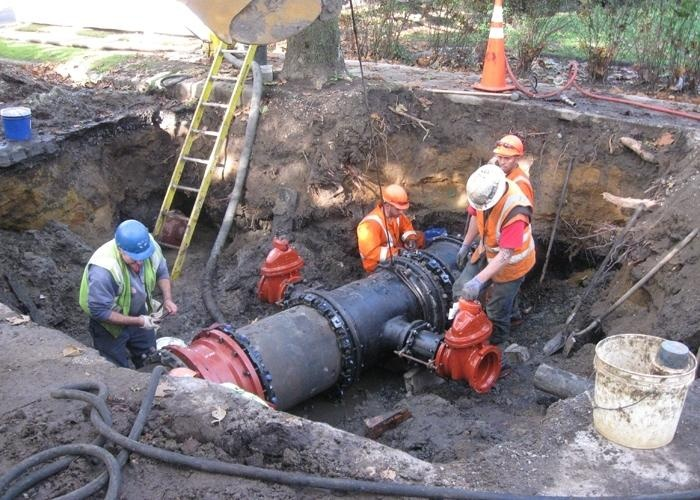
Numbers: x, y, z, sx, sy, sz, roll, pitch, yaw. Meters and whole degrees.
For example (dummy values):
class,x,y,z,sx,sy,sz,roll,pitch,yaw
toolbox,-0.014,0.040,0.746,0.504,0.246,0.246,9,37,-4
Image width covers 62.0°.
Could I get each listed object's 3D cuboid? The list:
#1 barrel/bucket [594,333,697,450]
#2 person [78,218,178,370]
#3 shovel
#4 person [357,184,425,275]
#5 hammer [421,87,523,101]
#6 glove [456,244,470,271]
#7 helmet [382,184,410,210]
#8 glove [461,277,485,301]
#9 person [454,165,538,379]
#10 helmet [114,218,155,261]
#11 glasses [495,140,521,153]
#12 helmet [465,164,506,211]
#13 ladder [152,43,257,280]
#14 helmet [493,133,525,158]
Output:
class,x,y,z,sx,sy,sz,roll,pitch,yaw
barrel/bucket,2.155,1.015,4.345,0.698,0.806,0.495,16,30,25
person,-2.140,0.556,5.747,0.631,1.778,0.839,19,31,28
shovel,2.920,0.239,6.314,2.217,0.213,0.732,-40,41,-21
person,0.462,-0.227,6.839,0.478,0.945,0.892,20,31,30
hammer,1.615,-2.039,7.633,1.067,0.120,0.197,5,3,3
glove,1.275,0.083,6.581,0.088,0.262,0.190,15,45,-8
helmet,0.516,-0.588,6.873,0.316,0.170,0.234,40,49,11
glove,1.206,0.406,5.754,0.256,0.264,0.155,2,-10,2
person,1.529,0.271,6.072,1.074,2.060,0.921,-24,51,-6
helmet,-2.016,-0.120,5.482,0.442,0.232,0.338,38,43,24
glasses,1.719,-1.116,6.286,0.298,0.115,0.229,8,27,9
helmet,1.354,-0.585,5.723,0.405,0.421,0.137,33,15,33
ladder,-2.133,-1.426,8.424,1.771,3.034,1.370,-21,35,-38
helmet,1.728,-1.082,6.315,0.266,0.183,0.341,24,12,27
